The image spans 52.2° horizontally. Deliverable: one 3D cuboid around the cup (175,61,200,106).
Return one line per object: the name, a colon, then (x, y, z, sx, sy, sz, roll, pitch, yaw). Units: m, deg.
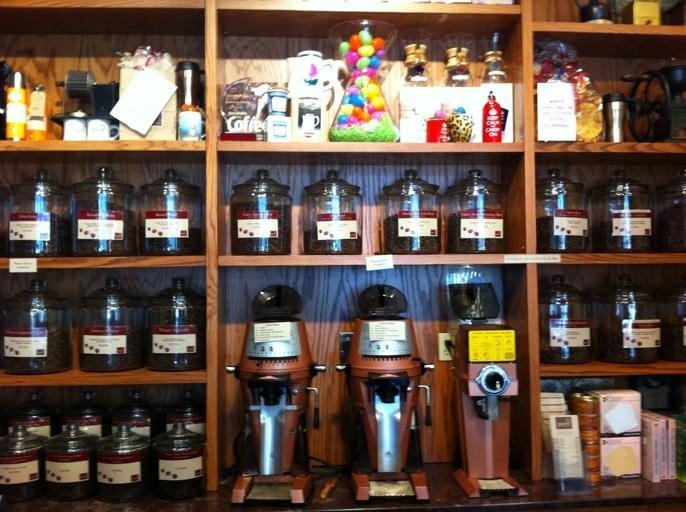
cup: (-0.635, -0.701, 2.878, 0.099, 0.198, 0.113, -2, 1, -3)

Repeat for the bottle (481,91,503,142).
bottle: (0.619, -0.580, 2.911, 0.070, 0.204, 0.081, -2, 0, 33)

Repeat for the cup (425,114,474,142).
cup: (0.441, -0.521, 2.916, 0.145, 0.091, 0.168, -1, 1, -44)

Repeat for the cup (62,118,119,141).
cup: (-1.022, -0.506, 2.835, 0.205, 0.085, 0.106, 0, 3, -14)

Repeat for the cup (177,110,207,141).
cup: (-0.603, -0.520, 2.817, 0.112, 0.124, 0.080, -2, 1, -23)

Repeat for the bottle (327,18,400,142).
bottle: (0.082, -0.715, 2.914, 0.296, 0.489, 0.202, -2, 0, -1)
